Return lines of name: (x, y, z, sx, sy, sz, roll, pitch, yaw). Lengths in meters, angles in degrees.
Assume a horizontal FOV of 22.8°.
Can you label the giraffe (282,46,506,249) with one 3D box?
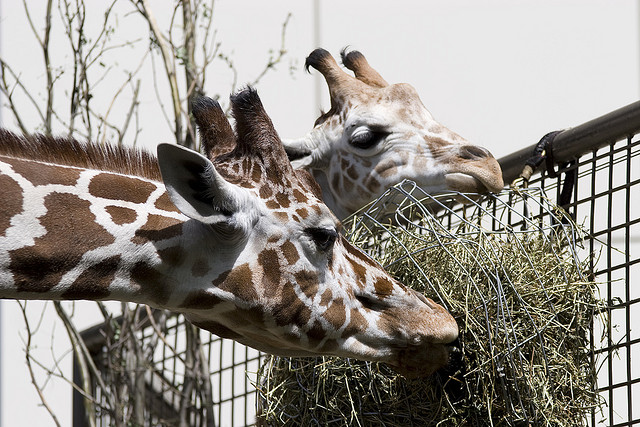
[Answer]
giraffe: (0.402, -0.398, 9.520, 1.255, 1.023, 1.263, -4, 4, 28)
